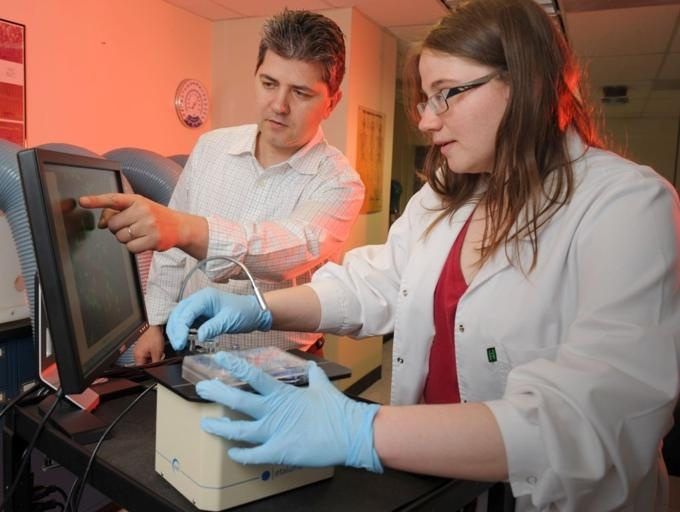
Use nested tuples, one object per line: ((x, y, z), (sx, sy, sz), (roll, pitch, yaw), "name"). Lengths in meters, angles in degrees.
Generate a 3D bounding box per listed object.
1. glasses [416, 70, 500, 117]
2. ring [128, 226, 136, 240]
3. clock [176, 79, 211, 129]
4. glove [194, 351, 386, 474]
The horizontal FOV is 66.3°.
((0.300, -0.423, 1.336), (0.106, 0.031, 0.108), (-33, 15, -9), "glasses")
((-0.536, -0.060, 1.333), (0.021, 0.023, 0.023), (-2, 62, 3), "ring")
((-1.224, -1.264, 4.289), (0.052, 0.415, 0.386), (-2, 13, 24), "clock")
((-0.117, 0.329, 1.073), (0.266, 0.192, 0.096), (16, -15, 4), "glove")
